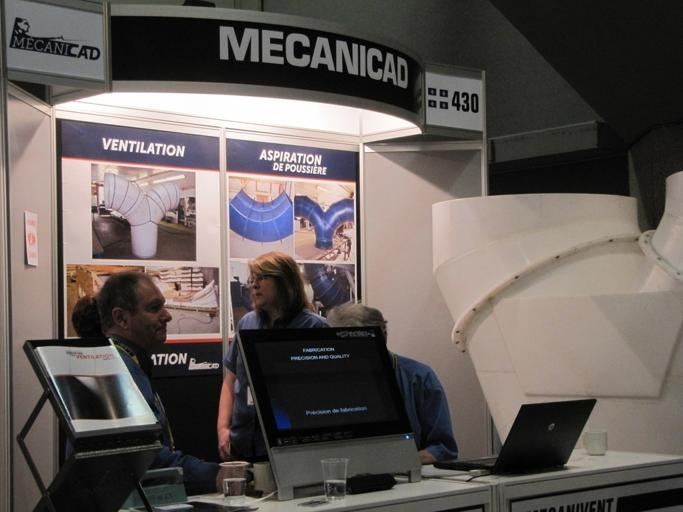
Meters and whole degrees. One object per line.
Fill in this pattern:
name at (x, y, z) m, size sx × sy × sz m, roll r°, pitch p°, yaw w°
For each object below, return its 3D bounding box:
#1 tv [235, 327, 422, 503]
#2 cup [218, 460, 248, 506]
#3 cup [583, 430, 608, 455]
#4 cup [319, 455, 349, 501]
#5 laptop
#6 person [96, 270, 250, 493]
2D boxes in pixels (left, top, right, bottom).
tv at (-0.034, 0.664, 2.928) m, size 0.757 × 0.760 × 0.296 m, roll 1°, pitch -5°, yaw -36°
cup at (-0.422, 0.905, 2.795) m, size 0.130 × 0.156 × 0.134 m, roll 0°, pitch -13°, yaw 0°
cup at (1.270, 0.933, 3.527) m, size 0.133 × 0.132 × 0.088 m, roll 0°, pitch -6°, yaw 12°
cup at (-0.027, 0.839, 2.671) m, size 0.121 × 0.142 × 0.129 m, roll 0°, pitch -15°, yaw 0°
laptop at (0.817, 0.788, 3.130) m, size 0.405 × 0.301 × 0.442 m, roll 6°, pitch -11°, yaw -35°
person at (-0.874, 0.550, 3.282) m, size 0.306 × 0.900 × 0.854 m, roll -4°, pitch 5°, yaw -32°
